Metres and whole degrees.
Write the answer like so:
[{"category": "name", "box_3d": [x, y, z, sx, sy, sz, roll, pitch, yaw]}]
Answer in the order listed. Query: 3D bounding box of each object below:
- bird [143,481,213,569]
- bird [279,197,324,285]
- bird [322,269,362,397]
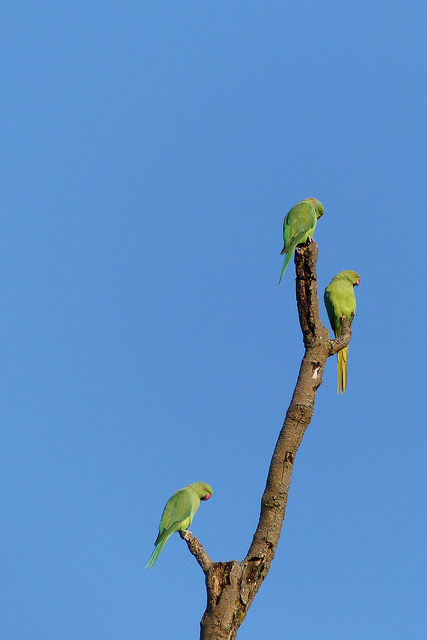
[{"category": "bird", "box_3d": [-0.338, 2.026, 12.861, 0.526, 1.066, 0.318, 6, -41, 1]}, {"category": "bird", "box_3d": [0.836, -0.707, 13.041, 0.364, 1.122, 0.240, 11, -22, -3]}, {"category": "bird", "box_3d": [1.316, 0.084, 13.852, 0.222, 0.285, 1.399, 6, -73, 15]}]
